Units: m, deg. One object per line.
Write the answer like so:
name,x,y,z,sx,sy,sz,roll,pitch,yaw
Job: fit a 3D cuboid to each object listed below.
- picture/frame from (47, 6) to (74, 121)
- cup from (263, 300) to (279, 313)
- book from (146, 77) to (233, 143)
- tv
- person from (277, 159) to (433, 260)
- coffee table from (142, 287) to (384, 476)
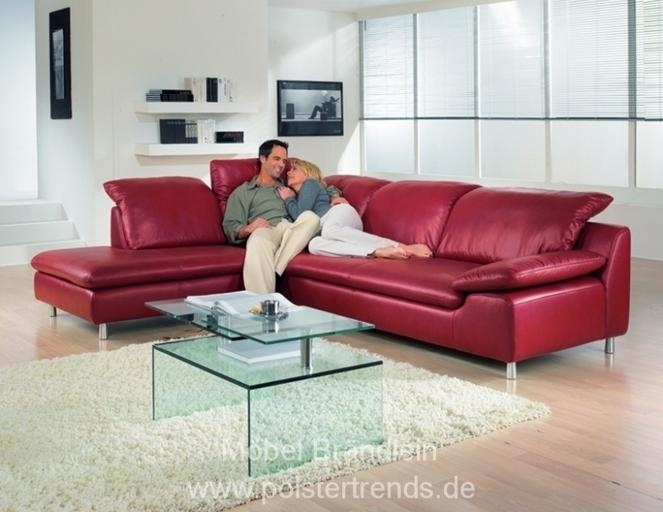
picture/frame,-3.480,-2.274,6.708,0.180,1.352,0.732,-7,10,-40
cup,-0.287,0.254,2.509,0.072,0.044,0.051,-1,6,-3
book,-1.868,-1.741,6.695,0.980,0.735,0.306,-6,8,-38
tv,-0.426,-2.441,9.284,1.203,0.735,0.115,-5,13,-26
person,0.135,-0.331,4.394,0.751,0.593,1.540,-10,22,-37
coffee table,-0.326,0.556,2.465,0.664,0.489,0.953,-2,2,-39
